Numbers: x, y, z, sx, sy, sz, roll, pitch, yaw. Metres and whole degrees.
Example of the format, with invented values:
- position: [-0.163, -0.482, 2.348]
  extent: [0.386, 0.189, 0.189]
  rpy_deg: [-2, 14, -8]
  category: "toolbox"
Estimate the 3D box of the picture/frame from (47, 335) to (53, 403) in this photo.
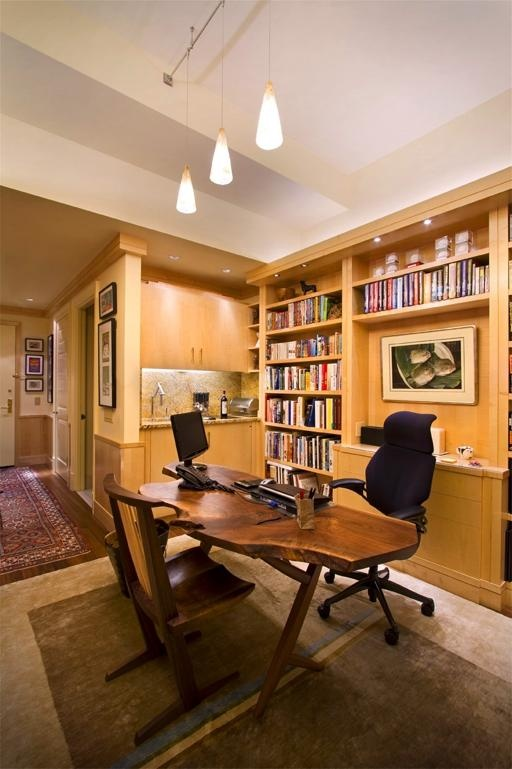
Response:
- position: [-2.762, -0.197, 6.814]
  extent: [0.102, 0.890, 0.526]
  rpy_deg: [-3, 6, -22]
  category: "picture/frame"

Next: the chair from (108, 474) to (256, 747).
- position: [-0.354, 0.864, 2.179]
  extent: [0.568, 0.892, 0.596]
  rpy_deg: [-7, 6, -26]
  category: "chair"

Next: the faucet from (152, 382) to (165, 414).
- position: [-0.904, 0.142, 4.662]
  extent: [0.115, 0.279, 0.196]
  rpy_deg: [-1, 5, -4]
  category: "faucet"

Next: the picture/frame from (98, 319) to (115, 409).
- position: [-1.235, -0.180, 4.222]
  extent: [0.033, 0.920, 0.737]
  rpy_deg: [1, -1, -28]
  category: "picture/frame"

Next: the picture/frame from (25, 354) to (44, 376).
- position: [-3.055, -0.273, 6.965]
  extent: [0.023, 0.345, 0.284]
  rpy_deg: [1, 0, 38]
  category: "picture/frame"

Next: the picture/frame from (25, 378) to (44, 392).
- position: [-3.071, 0.003, 7.005]
  extent: [0.014, 0.140, 0.183]
  rpy_deg: [3, 0, 31]
  category: "picture/frame"

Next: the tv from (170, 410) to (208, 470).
- position: [-0.373, 0.329, 2.886]
  extent: [0.133, 0.319, 0.320]
  rpy_deg: [-5, 2, 22]
  category: "tv"

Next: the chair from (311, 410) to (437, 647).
- position: [0.660, 0.750, 2.813]
  extent: [0.616, 1.132, 0.664]
  rpy_deg: [-1, 11, -8]
  category: "chair"

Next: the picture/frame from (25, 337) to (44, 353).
- position: [-3.070, -0.544, 7.007]
  extent: [0.020, 0.181, 0.203]
  rpy_deg: [-3, -6, 34]
  category: "picture/frame"

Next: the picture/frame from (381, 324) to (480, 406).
- position: [1.204, -0.130, 3.422]
  extent: [0.019, 0.420, 0.553]
  rpy_deg: [2, -3, -34]
  category: "picture/frame"

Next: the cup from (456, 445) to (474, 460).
- position: [1.284, 0.412, 3.099]
  extent: [0.088, 0.069, 0.092]
  rpy_deg: [0, -3, 0]
  category: "cup"

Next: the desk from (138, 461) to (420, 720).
- position: [0.062, 0.913, 2.229]
  extent: [1.198, 0.708, 0.654]
  rpy_deg: [3, 7, 34]
  category: "desk"
